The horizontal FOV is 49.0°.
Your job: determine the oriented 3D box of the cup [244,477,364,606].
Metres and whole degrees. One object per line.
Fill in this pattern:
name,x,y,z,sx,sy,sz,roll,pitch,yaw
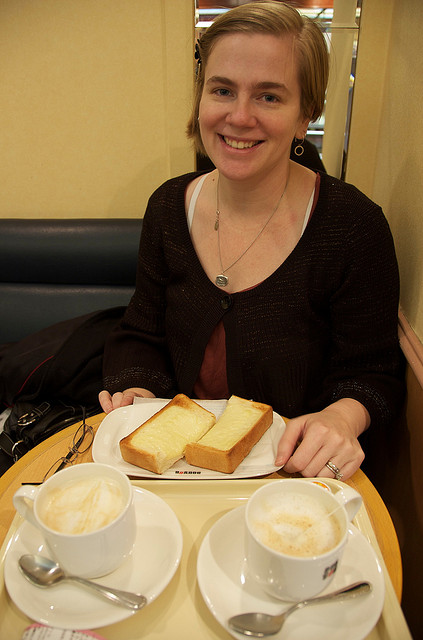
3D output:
cup,0.098,0.239,0.500,0.125,0.097,0.097,-18,28,-29

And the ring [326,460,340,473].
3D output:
ring,0.195,0.235,0.744,0.014,0.004,0.013,29,1,0

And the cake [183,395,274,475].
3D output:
cake,0.023,0.195,0.786,0.082,0.043,0.155,12,28,27

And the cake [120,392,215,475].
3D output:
cake,-0.073,0.198,0.811,0.089,0.041,0.175,15,26,26
